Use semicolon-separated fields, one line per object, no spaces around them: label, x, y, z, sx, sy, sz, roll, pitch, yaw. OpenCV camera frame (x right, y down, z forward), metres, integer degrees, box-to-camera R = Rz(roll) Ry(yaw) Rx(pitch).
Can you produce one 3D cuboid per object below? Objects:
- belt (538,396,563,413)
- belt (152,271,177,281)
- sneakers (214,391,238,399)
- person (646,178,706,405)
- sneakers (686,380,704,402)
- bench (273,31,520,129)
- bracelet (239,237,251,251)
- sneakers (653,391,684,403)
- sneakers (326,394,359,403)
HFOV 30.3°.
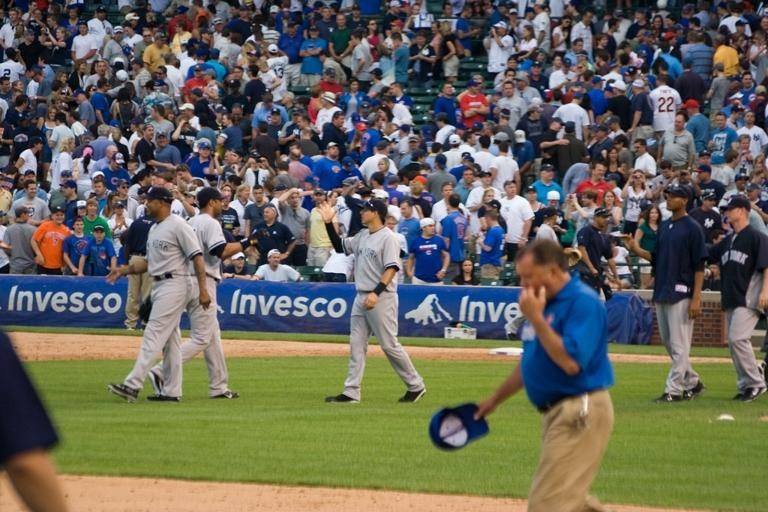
belt;2.426;2.201;20.752;0.267;0.103;0.232;-31;-7;18
belt;-3.995;0.402;25.577;0.374;0.170;0.116;1;3;8
sneakers;-2.920;2.573;26.058;0.436;0.180;0.153;-4;13;-3
person;5.386;0.709;25.918;0.932;3.903;0.585;1;4;11
sneakers;5.708;2.505;26.114;0.168;0.371;0.129;33;18;-18
bench;0.243;-4.644;38.333;4.915;2.988;0.980;1;-5;7
bracelet;-2.616;-0.200;26.561;0.148;0.120;0.484;-21;2;9
sneakers;5.200;2.592;25.908;0.535;0.202;0.193;2;2;2
sneakers;-0.770;2.629;25.810;0.585;0.225;0.212;3;-9;9
